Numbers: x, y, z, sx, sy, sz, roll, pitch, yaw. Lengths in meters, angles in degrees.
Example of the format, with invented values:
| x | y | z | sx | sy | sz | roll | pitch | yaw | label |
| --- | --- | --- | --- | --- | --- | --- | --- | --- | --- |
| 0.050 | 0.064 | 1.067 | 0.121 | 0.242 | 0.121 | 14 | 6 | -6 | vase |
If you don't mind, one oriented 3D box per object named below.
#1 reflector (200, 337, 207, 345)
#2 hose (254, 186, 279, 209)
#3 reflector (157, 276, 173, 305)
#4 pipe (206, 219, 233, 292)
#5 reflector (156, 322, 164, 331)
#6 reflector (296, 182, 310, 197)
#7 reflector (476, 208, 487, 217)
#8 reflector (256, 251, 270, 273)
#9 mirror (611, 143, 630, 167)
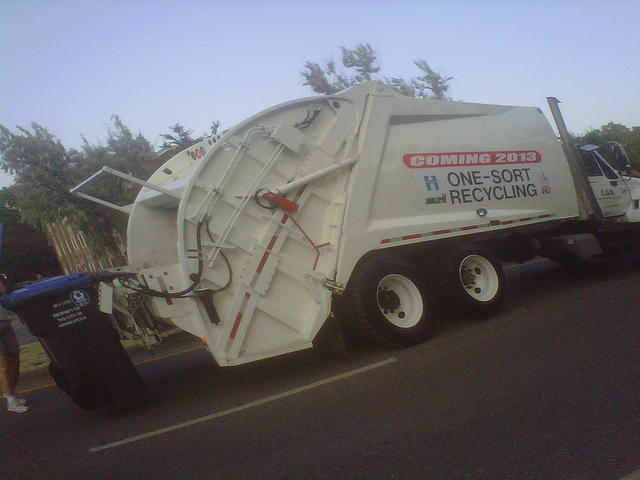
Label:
| x | y | z | sx | sy | sz | roll | pitch | yaw | label |
| --- | --- | --- | --- | --- | --- | --- | --- | --- | --- |
| -1.437 | 1.246 | 4.874 | 0.022 | 0.088 | 0.048 | -33 | 14 | -25 | reflector |
| -0.706 | -0.541 | 5.113 | 0.267 | 0.266 | 0.063 | -36 | 10 | -29 | hose |
| -1.856 | 0.602 | 4.728 | 0.115 | 0.327 | 0.045 | -8 | 4 | 3 | reflector |
| -1.282 | 0.174 | 5.023 | 0.241 | 0.919 | 0.283 | -3 | 6 | -35 | pipe |
| -2.140 | 1.148 | 5.270 | 0.044 | 0.176 | 0.041 | -26 | -31 | -10 | reflector |
| -0.241 | -0.702 | 5.465 | 0.206 | 0.132 | 0.027 | -11 | 5 | -29 | reflector |
| 2.699 | -0.469 | 6.619 | 0.132 | 0.101 | 0.118 | 0 | -19 | 12 | reflector |
| -0.745 | 0.282 | 5.181 | 0.202 | 0.218 | 0.038 | -12 | 6 | -36 | reflector |
| 6.788 | -1.876 | 9.030 | 0.286 | 0.603 | 0.141 | -12 | -1 | -2 | mirror |
